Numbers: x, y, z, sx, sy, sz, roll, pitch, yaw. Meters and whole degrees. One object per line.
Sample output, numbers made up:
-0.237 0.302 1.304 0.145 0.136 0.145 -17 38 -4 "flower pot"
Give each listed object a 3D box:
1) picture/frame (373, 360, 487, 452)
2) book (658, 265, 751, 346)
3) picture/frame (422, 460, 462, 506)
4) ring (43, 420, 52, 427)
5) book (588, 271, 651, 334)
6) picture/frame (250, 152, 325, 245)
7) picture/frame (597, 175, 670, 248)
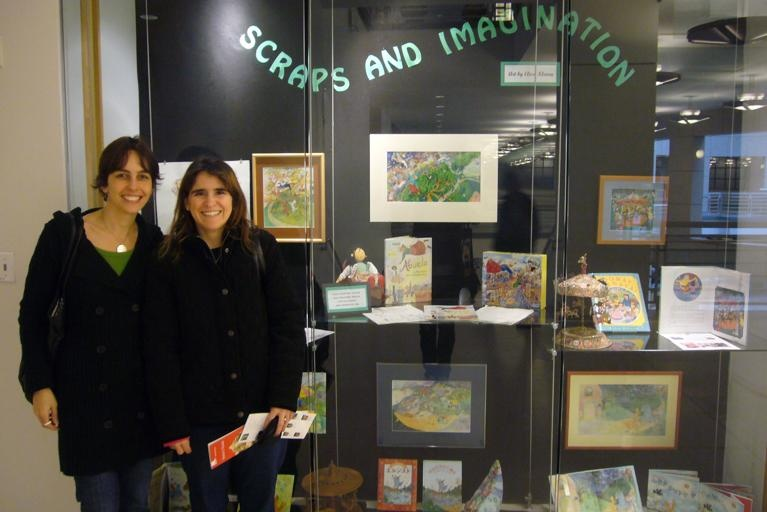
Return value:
0.235 0.697 3.147 0.418 0.327 0.015 0 5 2 "picture/frame"
1.532 0.219 3.138 0.359 0.342 0.154 4 3 17 "book"
0.291 1.092 3.174 0.210 0.263 0.035 0 1 -1 "picture/frame"
-1.516 0.742 2.925 0.031 0.025 0.032 2 -4 0 "ring"
1.122 0.206 3.128 0.263 0.328 0.026 -4 0 -4 "book"
-0.483 -0.283 3.254 0.450 0.538 0.051 0 0 3 "picture/frame"
1.179 -0.225 3.117 0.328 0.347 0.012 1 2 -5 "picture/frame"
